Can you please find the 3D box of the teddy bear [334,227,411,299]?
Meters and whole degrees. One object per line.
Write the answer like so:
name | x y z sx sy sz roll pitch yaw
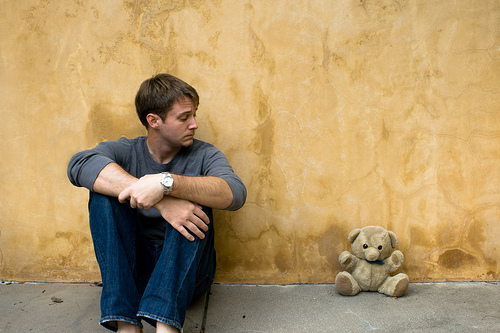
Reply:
teddy bear | 0.922 0.708 4.078 0.480 0.491 0.350 3 22 17
